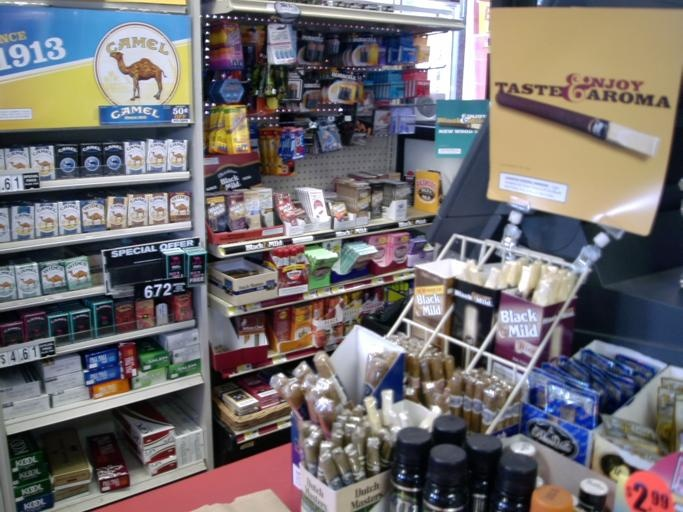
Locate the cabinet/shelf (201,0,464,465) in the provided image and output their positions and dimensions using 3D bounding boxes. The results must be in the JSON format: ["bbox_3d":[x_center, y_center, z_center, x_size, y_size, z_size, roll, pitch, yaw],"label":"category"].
[{"bbox_3d":[-0.201,-0.234,3.836,2.027,2.930,0.655,-17,23,-34],"label":"cabinet/shelf"}]

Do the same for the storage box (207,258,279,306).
[{"bbox_3d":[-0.683,0.153,3.475,0.278,0.137,0.378,-12,21,-39],"label":"storage box"}]
